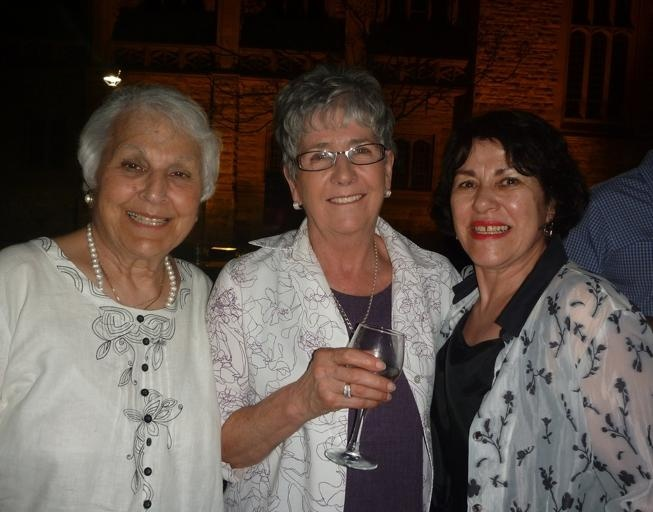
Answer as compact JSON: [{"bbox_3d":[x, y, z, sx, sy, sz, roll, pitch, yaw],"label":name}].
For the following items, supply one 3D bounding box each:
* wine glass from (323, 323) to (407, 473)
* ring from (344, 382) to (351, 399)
[{"bbox_3d":[0.149,0.648,2.751,0.298,0.710,0.338,-6,7,-34],"label":"wine glass"},{"bbox_3d":[0.083,0.558,2.625,0.028,0.063,0.067,-2,-11,8],"label":"ring"}]
